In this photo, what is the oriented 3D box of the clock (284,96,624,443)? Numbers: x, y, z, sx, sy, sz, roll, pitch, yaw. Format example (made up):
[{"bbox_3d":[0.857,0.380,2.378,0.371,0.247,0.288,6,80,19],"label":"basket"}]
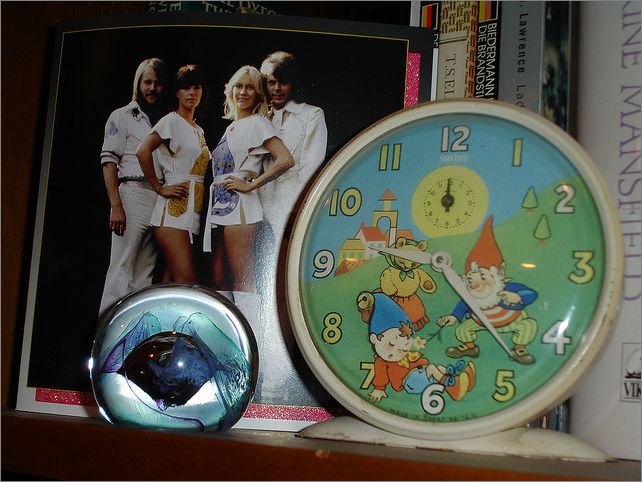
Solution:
[{"bbox_3d":[0.204,0.055,0.899,0.441,0.498,0.066,7,-12,15],"label":"clock"}]
